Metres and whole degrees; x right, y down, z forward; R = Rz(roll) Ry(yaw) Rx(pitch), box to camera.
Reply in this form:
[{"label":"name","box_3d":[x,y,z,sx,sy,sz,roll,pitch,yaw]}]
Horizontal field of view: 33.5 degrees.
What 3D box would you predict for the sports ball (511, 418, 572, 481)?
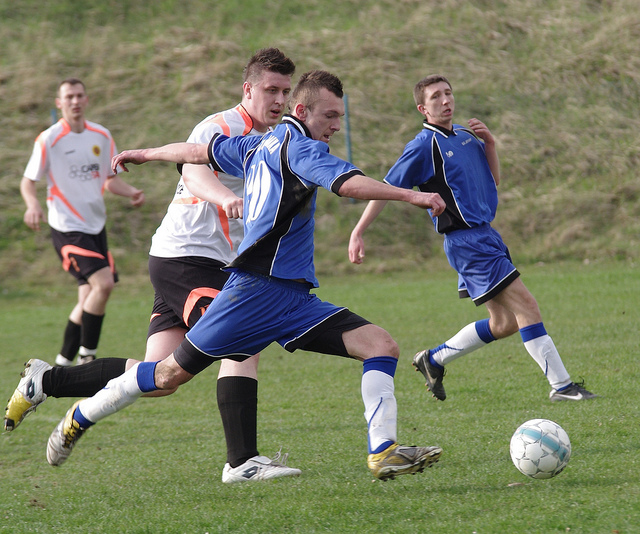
[{"label":"sports ball","box_3d":[1.345,1.132,6.639,0.451,0.334,0.380,3,9,-22]}]
